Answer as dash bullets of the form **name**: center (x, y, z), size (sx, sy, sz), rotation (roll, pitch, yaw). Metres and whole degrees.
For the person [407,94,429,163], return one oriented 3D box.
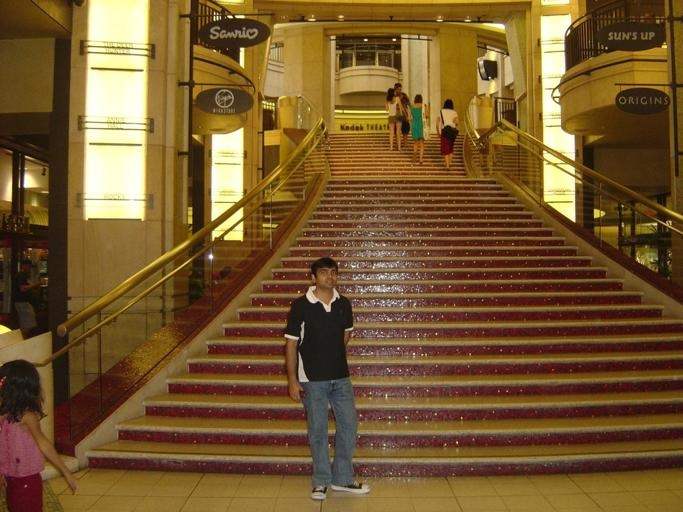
- **person**: center (1.619, -2.676, 11.994), size (0.401, 1.392, 1.586), rotation (2, 9, 8)

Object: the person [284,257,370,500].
- **person**: center (-0.127, 0.973, 4.600), size (0.657, 1.910, 0.365), rotation (0, 7, -7)

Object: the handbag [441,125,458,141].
- **handbag**: center (2.118, -2.429, 11.195), size (0.302, 0.276, 0.267), rotation (3, 8, 11)

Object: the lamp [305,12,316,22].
- **lamp**: center (-0.848, -6.538, 15.497), size (0.259, 0.111, 0.422), rotation (1, 10, -2)

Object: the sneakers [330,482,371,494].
- **sneakers**: center (0.082, 1.878, 4.688), size (0.302, 0.134, 0.119), rotation (1, -5, 0)
